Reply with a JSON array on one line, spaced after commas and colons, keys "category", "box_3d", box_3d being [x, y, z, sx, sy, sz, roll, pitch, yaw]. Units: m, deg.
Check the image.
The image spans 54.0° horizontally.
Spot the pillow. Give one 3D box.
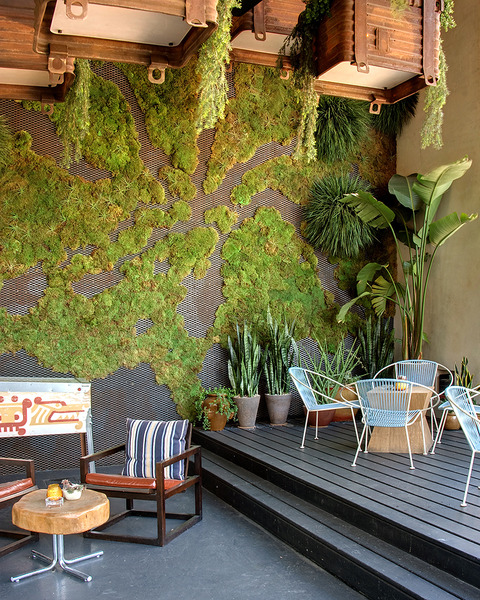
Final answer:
[{"category": "pillow", "box_3d": [-0.650, 1.164, 3.665, 0.573, 0.450, 0.208, -4, -9, 20]}]

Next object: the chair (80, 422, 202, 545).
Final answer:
[{"category": "chair", "box_3d": [-0.717, 1.311, 3.484, 0.629, 0.712, 0.670, -5, -10, 17]}]

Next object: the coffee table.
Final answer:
[{"category": "coffee table", "box_3d": [-1.067, 1.383, 2.774, 0.575, 0.372, 0.591, 7, -10, -42]}]
